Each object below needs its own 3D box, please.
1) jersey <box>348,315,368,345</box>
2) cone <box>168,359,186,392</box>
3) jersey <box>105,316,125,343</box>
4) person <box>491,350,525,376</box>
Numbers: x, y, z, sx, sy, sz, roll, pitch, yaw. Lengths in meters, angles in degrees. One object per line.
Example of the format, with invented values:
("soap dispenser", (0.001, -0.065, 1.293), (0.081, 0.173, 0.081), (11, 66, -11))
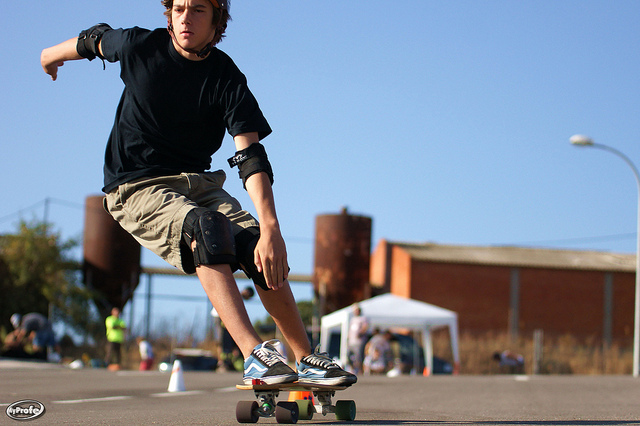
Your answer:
("jersey", (0.954, 2.994, 24.445), (0.592, 0.994, 0.532), (4, 34, 5))
("cone", (-2.392, 2.722, 15.342), (0.397, 0.519, 0.439), (1, -9, -21))
("jersey", (-5.413, 2.995, 24.081), (0.462, 0.641, 0.394), (3, -10, -20))
("person", (5.316, 4.229, 25.732), (1.041, 0.685, 0.804), (9, 2, -4))
